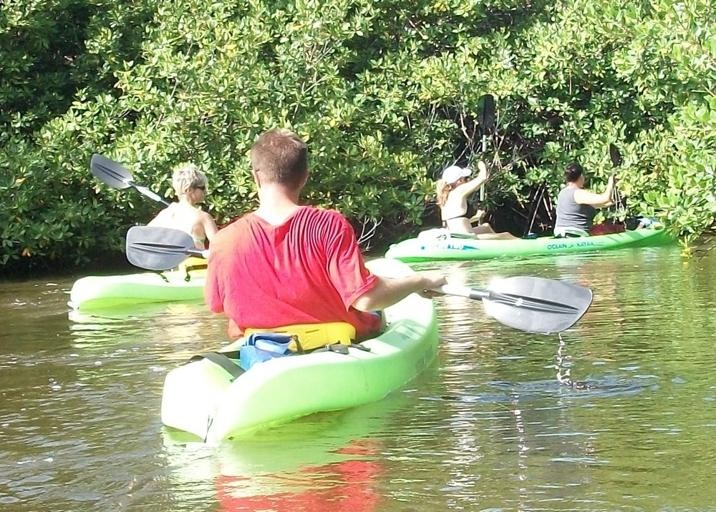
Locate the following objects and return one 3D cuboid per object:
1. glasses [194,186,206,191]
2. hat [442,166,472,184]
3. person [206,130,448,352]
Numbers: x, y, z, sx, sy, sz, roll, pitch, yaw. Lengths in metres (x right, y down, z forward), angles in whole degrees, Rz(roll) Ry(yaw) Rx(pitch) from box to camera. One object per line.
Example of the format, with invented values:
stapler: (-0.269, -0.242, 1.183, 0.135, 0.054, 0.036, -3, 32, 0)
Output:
glasses: (-1.834, -0.778, 9.918, 0.093, 0.032, 0.100, 0, -9, 1)
hat: (1.650, -1.391, 14.750, 0.516, 0.191, 0.304, -16, 13, 3)
person: (-0.171, -0.150, 5.946, 1.550, 0.832, 1.503, -2, 3, 13)
